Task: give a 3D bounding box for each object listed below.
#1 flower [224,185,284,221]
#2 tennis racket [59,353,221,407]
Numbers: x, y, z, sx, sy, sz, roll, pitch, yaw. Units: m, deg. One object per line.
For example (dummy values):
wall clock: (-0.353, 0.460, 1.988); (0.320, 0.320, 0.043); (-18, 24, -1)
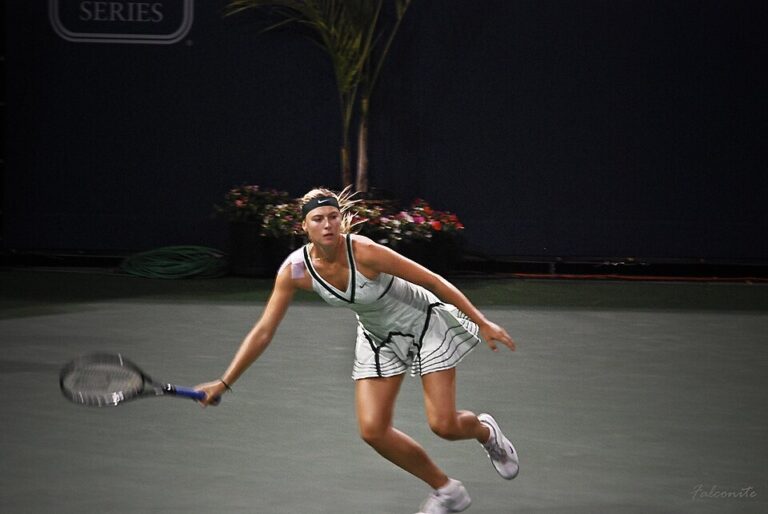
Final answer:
flower: (-2.612, -1.081, 10.902); (1.143, 0.577, 1.052); (1, 4, 8)
tennis racket: (-1.258, 0.637, 2.646); (0.658, 0.310, 0.417); (4, 3, 2)
